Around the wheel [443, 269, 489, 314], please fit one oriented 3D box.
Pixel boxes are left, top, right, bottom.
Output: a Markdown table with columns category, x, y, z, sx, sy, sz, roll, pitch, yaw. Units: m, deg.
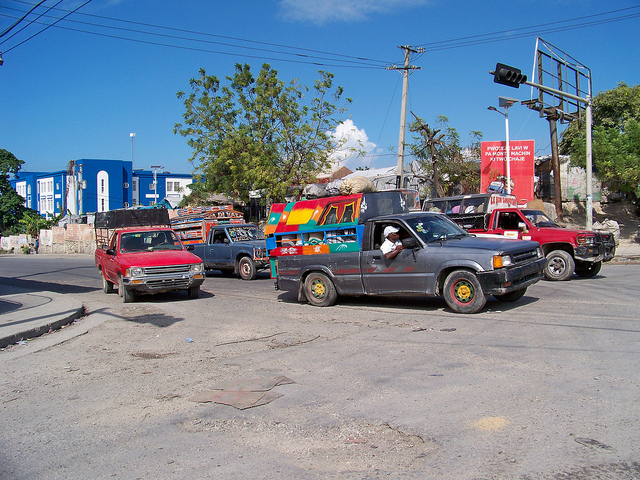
| category | x | y | z | sx | sy | sz | roll | pitch | yaw |
| --- | --- | --- | --- | --- | --- | --- | --- | --- | --- |
| wheel | 2.977 | 1.009 | 9.640 | 0.949 | 1.005 | 0.364 | 0 | -4 | 42 |

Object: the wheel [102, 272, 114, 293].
| category | x | y | z | sx | sy | sz | roll | pitch | yaw |
| --- | --- | --- | --- | --- | --- | --- | --- | --- | --- |
| wheel | -6.624 | 1.441 | 15.028 | 0.236 | 0.451 | 0.306 | -2 | 2 | -36 |

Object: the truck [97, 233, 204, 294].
| category | x | y | z | sx | sy | sz | roll | pitch | yaw |
| --- | --- | --- | --- | --- | --- | --- | --- | --- | --- |
| truck | -4.776 | 0.659 | 13.659 | 2.068 | 1.693 | 2.617 | -2 | 2 | -33 |

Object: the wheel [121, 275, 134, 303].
| category | x | y | z | sx | sy | sz | roll | pitch | yaw |
| --- | --- | --- | --- | --- | --- | --- | --- | --- | --- |
| wheel | -5.160 | 1.311 | 12.849 | 0.302 | 0.755 | 0.512 | -1 | 2 | -23 |

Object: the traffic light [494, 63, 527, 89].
| category | x | y | z | sx | sy | sz | roll | pitch | yaw |
| --- | --- | --- | --- | --- | --- | --- | --- | --- | --- |
| traffic light | 7.061 | -5.963 | 17.444 | 1.084 | 0.963 | 0.937 | -1 | 2 | -1 |

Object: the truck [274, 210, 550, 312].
| category | x | y | z | sx | sy | sz | roll | pitch | yaw |
| --- | --- | --- | --- | --- | --- | --- | --- | --- | --- |
| truck | 2.078 | 0.541 | 11.072 | 4.910 | 1.703 | 2.735 | -5 | -2 | 35 |

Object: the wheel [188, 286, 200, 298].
| category | x | y | z | sx | sy | sz | roll | pitch | yaw |
| --- | --- | --- | --- | --- | --- | --- | --- | --- | --- |
| wheel | -3.569 | 1.459 | 13.609 | 0.290 | 0.505 | 0.547 | 0 | -1 | -8 |

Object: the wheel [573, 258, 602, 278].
| category | x | y | z | sx | sy | sz | roll | pitch | yaw |
| --- | --- | --- | --- | --- | --- | --- | --- | --- | --- |
| wheel | 8.072 | 0.810 | 14.392 | 0.635 | 0.626 | 0.249 | 3 | 4 | 38 |

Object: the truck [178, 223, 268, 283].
| category | x | y | z | sx | sy | sz | roll | pitch | yaw |
| --- | --- | --- | --- | --- | --- | --- | --- | --- | --- |
| truck | -3.604 | 0.458 | 19.565 | 2.225 | 1.727 | 4.131 | 0 | -1 | -43 |

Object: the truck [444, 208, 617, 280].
| category | x | y | z | sx | sy | sz | roll | pitch | yaw |
| --- | --- | --- | --- | --- | --- | --- | --- | --- | --- |
| truck | 6.231 | -0.087 | 15.190 | 5.247 | 1.904 | 2.467 | 0 | 0 | 39 |

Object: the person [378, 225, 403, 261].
| category | x | y | z | sx | sy | sz | roll | pitch | yaw |
| --- | --- | --- | --- | --- | --- | --- | --- | --- | --- |
| person | 1.599 | 0.057 | 10.495 | 0.448 | 0.778 | 0.416 | 0 | 2 | 8 |

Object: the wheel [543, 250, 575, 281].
| category | x | y | z | sx | sy | sz | roll | pitch | yaw |
| --- | --- | --- | --- | --- | --- | --- | --- | --- | --- |
| wheel | 6.899 | 0.716 | 13.711 | 0.299 | 0.811 | 0.818 | 8 | 1 | -42 |

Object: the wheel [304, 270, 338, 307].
| category | x | y | z | sx | sy | sz | roll | pitch | yaw |
| --- | --- | --- | --- | --- | --- | --- | --- | --- | --- |
| wheel | 0.025 | 1.165 | 11.677 | 0.943 | 0.878 | 0.251 | 1 | 2 | 35 |

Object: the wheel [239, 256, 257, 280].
| category | x | y | z | sx | sy | sz | roll | pitch | yaw |
| --- | --- | --- | --- | --- | --- | --- | --- | --- | --- |
| wheel | -2.762 | 1.050 | 18.356 | 0.931 | 0.885 | 0.266 | 1 | 2 | 40 |
